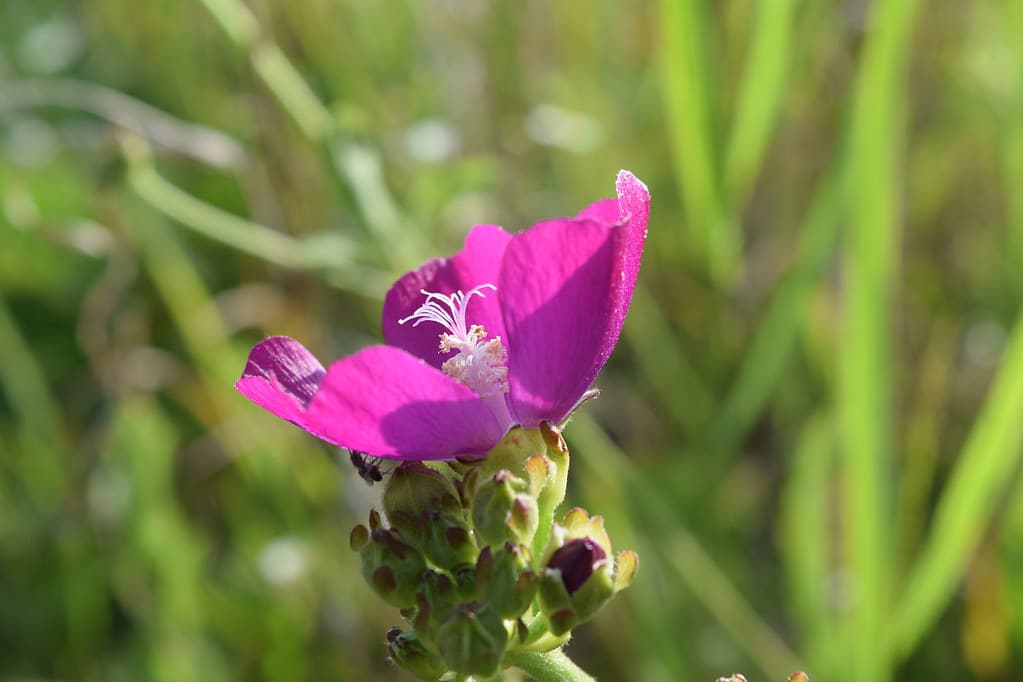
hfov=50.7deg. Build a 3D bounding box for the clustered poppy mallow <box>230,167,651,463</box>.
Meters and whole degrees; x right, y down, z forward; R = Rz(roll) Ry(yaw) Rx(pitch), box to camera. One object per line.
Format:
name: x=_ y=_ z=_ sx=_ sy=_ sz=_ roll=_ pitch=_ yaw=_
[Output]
clustered poppy mallow: x=0.017 y=-0.039 z=2.138 sx=0.531 sy=0.362 sz=0.741 roll=-8 pitch=-4 yaw=-3
